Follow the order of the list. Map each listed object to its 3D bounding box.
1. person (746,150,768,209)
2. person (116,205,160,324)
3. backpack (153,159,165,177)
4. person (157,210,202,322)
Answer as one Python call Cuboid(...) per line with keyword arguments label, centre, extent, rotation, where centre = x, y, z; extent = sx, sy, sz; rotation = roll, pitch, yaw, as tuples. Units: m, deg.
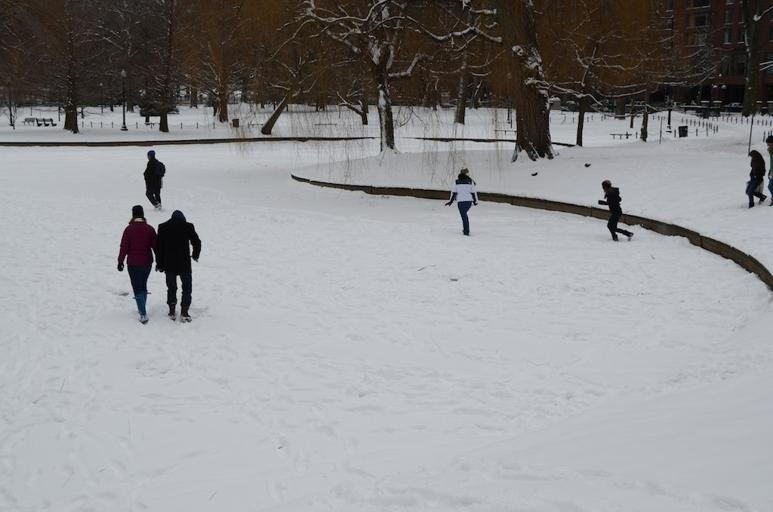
Cuboid(label="person", centre=(10.305, -2.150, 20.172), extent=(0.491, 1.574, 1.171), rotation=(4, 9, 27))
Cuboid(label="person", centre=(-4.776, 0.153, 14.007), extent=(0.685, 2.269, 1.141), rotation=(-3, 8, -18))
Cuboid(label="backpack", centre=(-7.026, -2.705, 22.316), extent=(0.451, 0.591, 0.163), rotation=(-15, 19, -42))
Cuboid(label="person", centre=(-4.022, 0.204, 14.062), extent=(0.814, 2.171, 0.671), rotation=(-3, 8, -17))
